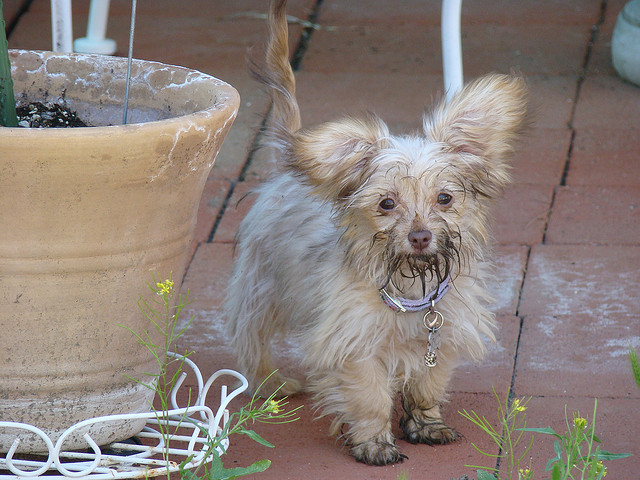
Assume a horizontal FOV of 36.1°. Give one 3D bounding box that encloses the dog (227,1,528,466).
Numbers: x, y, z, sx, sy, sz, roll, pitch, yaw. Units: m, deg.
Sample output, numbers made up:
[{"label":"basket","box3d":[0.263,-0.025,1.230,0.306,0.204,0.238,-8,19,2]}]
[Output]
[{"label":"dog","box3d":[0.170,-0.005,3.644,1.028,1.566,0.607,14,20,10]}]
